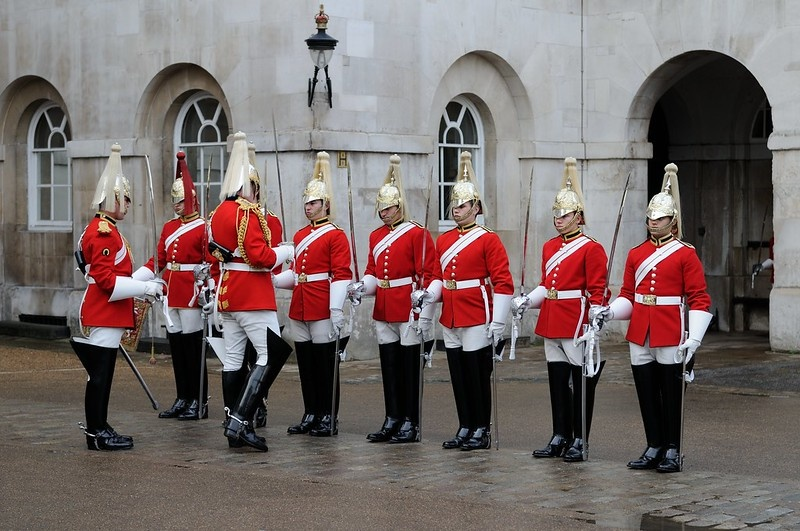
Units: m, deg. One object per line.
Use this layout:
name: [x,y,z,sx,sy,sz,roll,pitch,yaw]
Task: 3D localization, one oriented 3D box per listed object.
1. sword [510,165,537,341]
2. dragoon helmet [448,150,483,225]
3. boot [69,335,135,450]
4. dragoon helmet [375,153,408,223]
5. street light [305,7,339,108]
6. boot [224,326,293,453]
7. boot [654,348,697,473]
sword: [1.637,-0.243,21.333,0.130,2.569,0.137,3,-3,21]
dragoon helmet: [0.699,-0.866,16.584,0.381,0.650,0.329,-6,6,-42]
boot: [-3.004,1.305,16.235,0.550,1.069,0.596,-2,9,-17]
dragoon helmet: [-0.079,-0.839,16.908,0.346,0.712,0.388,12,14,37]
street light: [-1.009,-2.754,20.747,0.394,1.346,0.582,0,8,-3]
boot: [-1.442,1.262,16.238,0.663,1.207,0.431,0,8,-5]
boot: [2.666,1.429,15.561,0.309,1.160,0.331,2,9,8]
